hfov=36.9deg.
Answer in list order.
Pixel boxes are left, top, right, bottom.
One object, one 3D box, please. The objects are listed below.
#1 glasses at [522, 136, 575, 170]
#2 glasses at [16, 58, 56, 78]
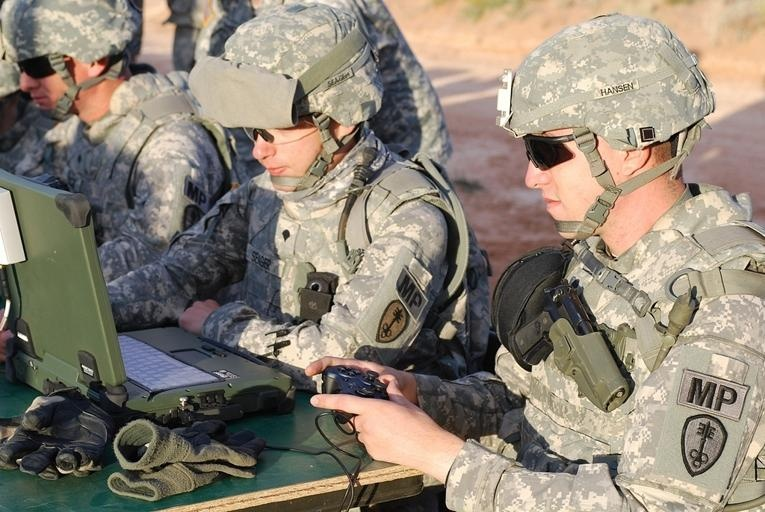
[{"bbox_3d":[0.715,-0.463,4.968,0.173,0.065,0.166,-9,10,-11],"label":"glasses"},{"bbox_3d":[-2.047,-1.119,6.833,0.147,0.056,0.147,5,-5,30],"label":"glasses"}]
